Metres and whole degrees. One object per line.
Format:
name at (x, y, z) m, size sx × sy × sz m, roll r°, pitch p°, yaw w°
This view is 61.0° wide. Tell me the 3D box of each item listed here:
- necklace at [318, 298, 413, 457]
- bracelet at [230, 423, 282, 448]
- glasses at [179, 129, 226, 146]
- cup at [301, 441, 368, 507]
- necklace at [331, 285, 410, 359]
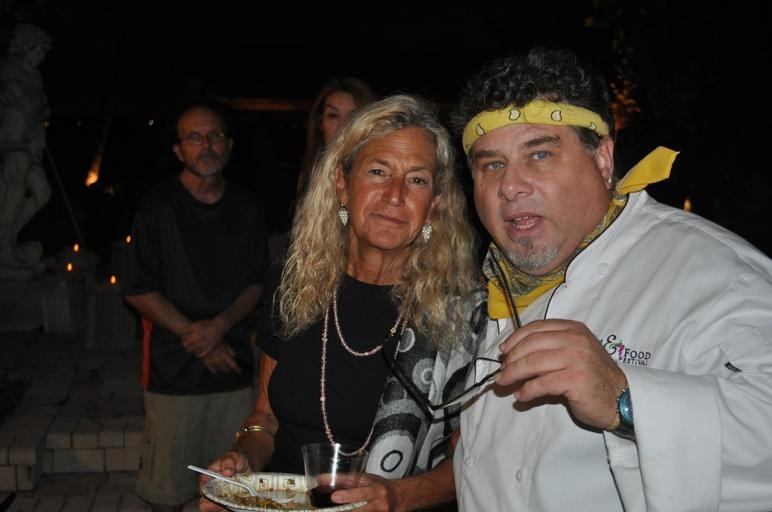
necklace at (-0.314, 0.761, 4.343) m, size 0.375 × 1.047 × 0.082 m, roll 6°, pitch -10°, yaw 4°
bracelet at (-0.843, 1.116, 4.197) m, size 0.184 × 0.062 × 0.165 m, roll -18°, pitch 3°, yaw -33°
glasses at (-1.569, -1.018, 5.645) m, size 0.213 × 0.056 × 0.200 m, roll -3°, pitch -20°, yaw -14°
cup at (-0.282, 1.192, 3.621) m, size 0.360 × 0.268 × 0.353 m, roll 2°, pitch -16°, yaw 1°
necklace at (-0.087, 0.443, 4.250) m, size 0.465 × 0.393 × 0.105 m, roll 7°, pitch -11°, yaw 6°
